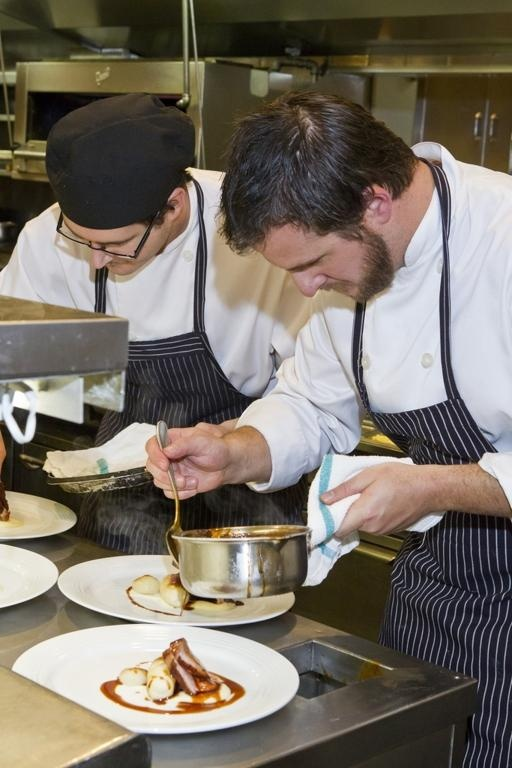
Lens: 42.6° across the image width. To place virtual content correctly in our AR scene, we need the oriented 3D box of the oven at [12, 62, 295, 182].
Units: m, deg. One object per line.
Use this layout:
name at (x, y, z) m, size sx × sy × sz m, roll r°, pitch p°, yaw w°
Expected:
oven at (-0.573, -0.979, 2.510) m, size 0.663 × 0.296 × 0.457 m, roll -1°, pitch 8°, yaw -13°

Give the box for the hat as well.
hat at (-0.224, -0.359, 1.145) m, size 0.210 × 0.144 × 0.265 m, roll 27°, pitch 56°, yaw 26°
